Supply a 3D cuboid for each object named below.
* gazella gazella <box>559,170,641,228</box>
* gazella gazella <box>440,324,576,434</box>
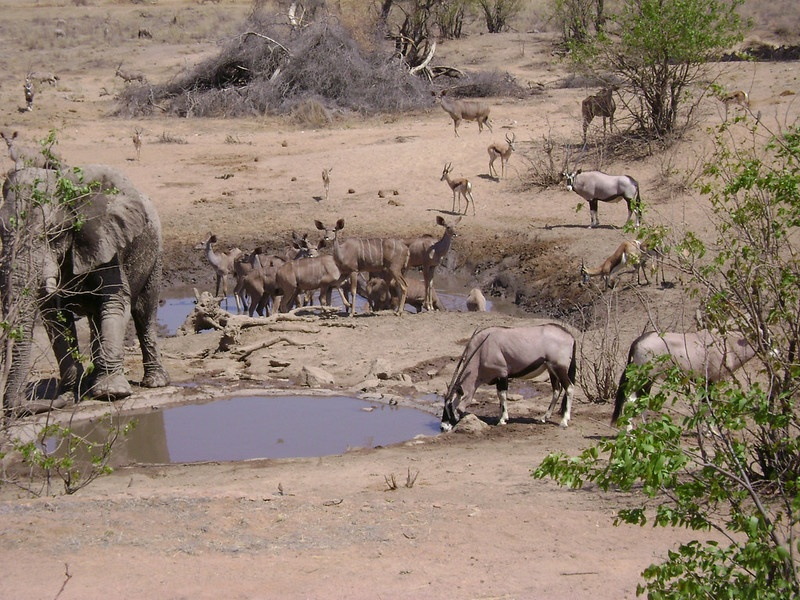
[{"bbox_3d":[4.324,-2.118,23.836,1.731,1.218,0.468,2,4,30],"label":"gazella gazella"},{"bbox_3d":[1.532,0.858,15.192,1.667,1.538,1.031,3,14,9],"label":"gazella gazella"}]
